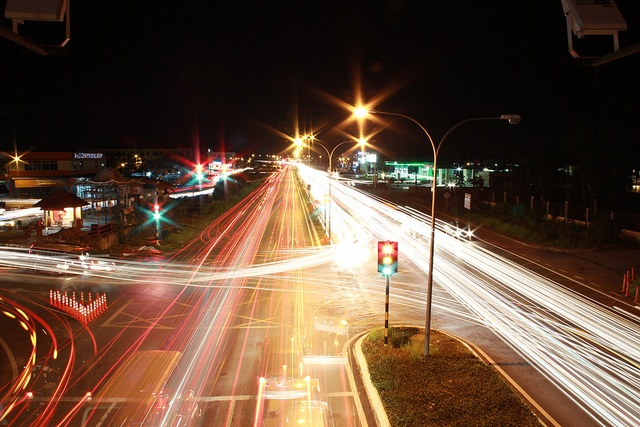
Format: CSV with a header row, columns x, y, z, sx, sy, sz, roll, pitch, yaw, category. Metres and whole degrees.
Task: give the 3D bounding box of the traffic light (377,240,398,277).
x,y,z,sx,sy,sz,roll,pitch,yaw,category
3.520,2.196,27.421,1.198,2.106,1.227,-7,18,-9,traffic light
